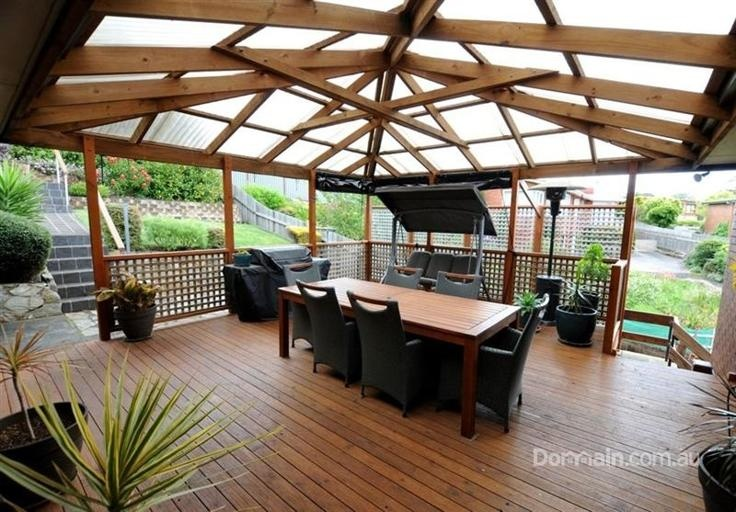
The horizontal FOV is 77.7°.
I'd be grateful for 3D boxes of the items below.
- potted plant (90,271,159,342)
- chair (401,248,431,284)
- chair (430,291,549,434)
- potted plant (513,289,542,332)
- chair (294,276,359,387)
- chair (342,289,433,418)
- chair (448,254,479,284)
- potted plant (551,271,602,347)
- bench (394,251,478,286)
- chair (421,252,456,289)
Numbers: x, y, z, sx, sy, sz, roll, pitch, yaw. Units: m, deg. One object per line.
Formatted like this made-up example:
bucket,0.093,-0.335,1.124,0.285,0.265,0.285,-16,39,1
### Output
potted plant,-3.233,0.702,6.195,0.767,0.948,0.418,-3,9,-36
chair,1.045,0.133,8.325,0.533,0.607,0.581,2,2,36
chair,1.269,1.072,4.749,1.030,1.342,0.605,2,7,8
potted plant,2.284,0.740,6.691,0.348,0.384,0.335,18,14,35
chair,-0.219,0.836,5.502,0.999,1.045,0.885,-5,8,-31
chair,0.252,1.009,4.864,0.771,1.295,0.586,4,8,21
chair,1.617,0.173,7.687,0.441,0.537,0.516,3,-2,35
potted plant,3.047,0.790,6.573,0.581,0.822,0.561,-6,-19,20
bench,1.152,0.287,7.965,1.422,0.580,0.708,6,17,45
chair,1.149,0.222,7.949,0.596,0.566,0.469,0,5,-38
